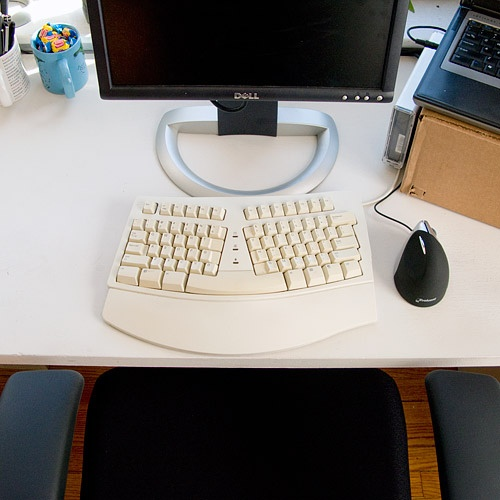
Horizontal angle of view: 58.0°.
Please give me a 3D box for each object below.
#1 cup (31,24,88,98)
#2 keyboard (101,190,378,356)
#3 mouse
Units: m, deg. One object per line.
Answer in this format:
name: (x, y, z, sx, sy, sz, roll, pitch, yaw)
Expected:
cup: (-0.358, -0.350, 0.870, 0.079, 0.112, 0.136, -14, 66, -17)
keyboard: (-0.014, 0.025, 0.645, 0.374, 0.062, 0.245, 0, 53, -3)
mouse: (0.246, 0.003, 0.642, 0.084, 0.048, 0.136, 2, 55, 15)
